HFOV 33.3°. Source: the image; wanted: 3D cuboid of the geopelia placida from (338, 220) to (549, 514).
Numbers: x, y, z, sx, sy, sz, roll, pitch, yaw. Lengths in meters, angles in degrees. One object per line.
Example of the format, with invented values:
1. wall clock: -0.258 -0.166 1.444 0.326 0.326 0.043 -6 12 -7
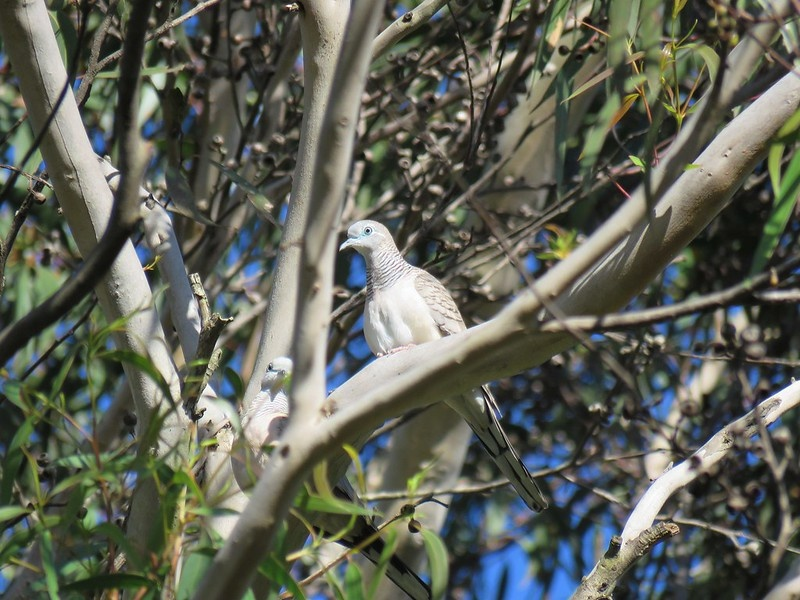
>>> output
1. geopelia placida: 0.158 0.251 5.983 1.040 1.337 0.373 -6 -12 40
